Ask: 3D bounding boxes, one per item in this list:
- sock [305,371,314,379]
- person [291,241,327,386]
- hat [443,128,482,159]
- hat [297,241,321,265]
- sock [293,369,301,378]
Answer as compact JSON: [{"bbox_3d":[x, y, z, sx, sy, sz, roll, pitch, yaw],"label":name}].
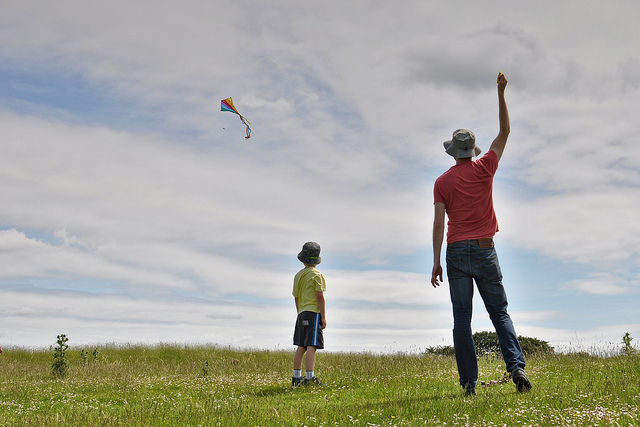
[{"bbox_3d":[-0.256,4.209,14.715,0.175,0.179,0.173,1,-4,-18],"label":"sock"},{"bbox_3d":[-0.304,2.605,14.924,1.057,3.716,0.633,-14,-23,36],"label":"person"},{"bbox_3d":[3.203,-1.648,12.650,0.850,0.958,0.476,1,-61,11],"label":"hat"},{"bbox_3d":[-0.277,1.081,15.263,0.511,0.608,0.406,1,-18,-4],"label":"hat"},{"bbox_3d":[-0.582,4.189,14.790,0.163,0.193,0.122,5,-19,-17],"label":"sock"}]
